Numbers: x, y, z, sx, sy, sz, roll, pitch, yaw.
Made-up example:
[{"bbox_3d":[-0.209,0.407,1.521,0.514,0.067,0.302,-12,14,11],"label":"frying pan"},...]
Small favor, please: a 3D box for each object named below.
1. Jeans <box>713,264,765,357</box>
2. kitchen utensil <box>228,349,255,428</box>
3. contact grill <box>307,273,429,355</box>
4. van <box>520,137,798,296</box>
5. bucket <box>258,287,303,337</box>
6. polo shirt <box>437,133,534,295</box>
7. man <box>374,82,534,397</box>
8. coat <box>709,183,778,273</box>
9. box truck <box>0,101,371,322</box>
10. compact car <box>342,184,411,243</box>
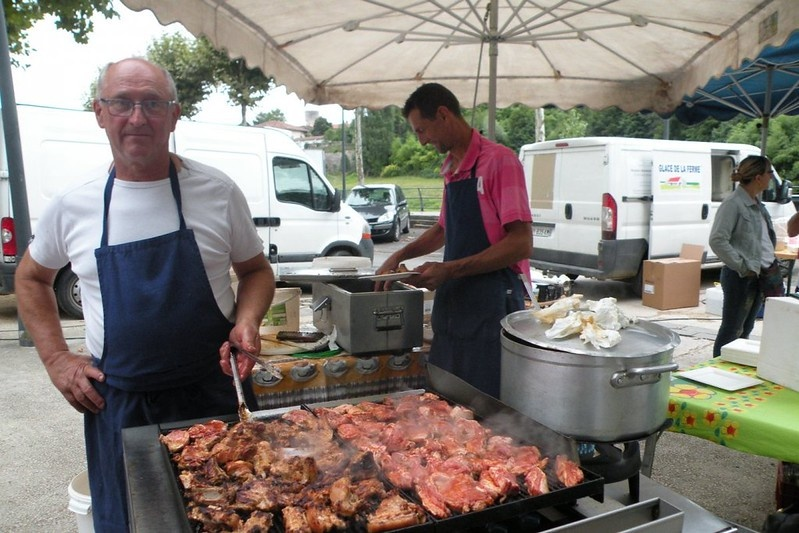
[{"bbox_3d":[3.229,0.441,6.017,0.562,0.888,0.338,-13,17,-38],"label":"Jeans"},{"bbox_3d":[-0.794,0.604,3.027,0.094,0.384,0.133,-23,-23,14],"label":"kitchen utensil"},{"bbox_3d":[-0.246,0.275,3.978,0.484,0.250,0.612,-1,7,-26],"label":"contact grill"},{"bbox_3d":[4.318,-0.811,10.453,4.045,1.899,2.774,-9,15,-21],"label":"van"},{"bbox_3d":[-0.853,0.338,4.643,0.395,0.362,0.304,2,-5,-26],"label":"bucket"},{"bbox_3d":[0.591,-0.494,3.936,0.515,0.695,0.218,10,19,43],"label":"polo shirt"},{"bbox_3d":[0.469,0.120,4.150,0.843,2.458,0.944,-15,17,-37],"label":"man"},{"bbox_3d":[3.290,-0.338,5.963,0.771,0.792,0.467,-14,18,-43],"label":"coat"},{"bbox_3d":[-3.079,-1.046,9.944,5.452,2.425,2.252,-5,7,-32],"label":"box truck"},{"bbox_3d":[-0.563,-1.712,19.503,1.361,1.050,2.309,-1,6,9],"label":"compact car"}]
